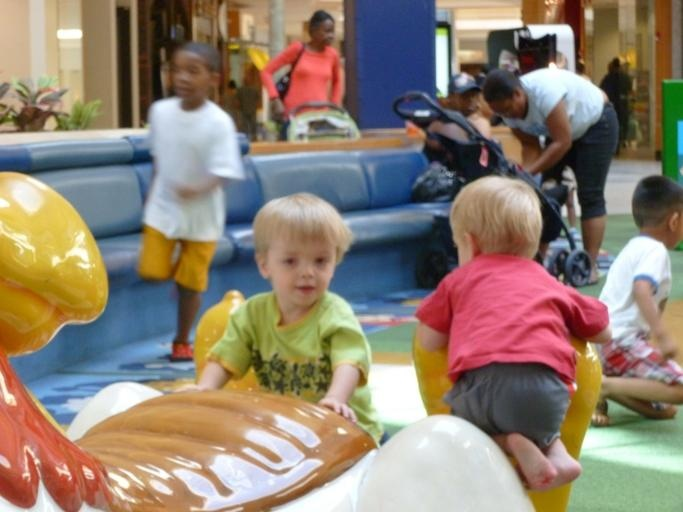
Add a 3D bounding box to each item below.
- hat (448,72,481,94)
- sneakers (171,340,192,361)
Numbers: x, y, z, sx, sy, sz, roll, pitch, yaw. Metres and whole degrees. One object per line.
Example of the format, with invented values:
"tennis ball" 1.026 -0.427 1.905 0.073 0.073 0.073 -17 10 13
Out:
"hat" 0.941 -1.342 5.202 0.181 0.149 0.238 -4 5 -21
"sneakers" -0.799 0.480 3.360 0.109 0.123 0.069 -1 1 -5
